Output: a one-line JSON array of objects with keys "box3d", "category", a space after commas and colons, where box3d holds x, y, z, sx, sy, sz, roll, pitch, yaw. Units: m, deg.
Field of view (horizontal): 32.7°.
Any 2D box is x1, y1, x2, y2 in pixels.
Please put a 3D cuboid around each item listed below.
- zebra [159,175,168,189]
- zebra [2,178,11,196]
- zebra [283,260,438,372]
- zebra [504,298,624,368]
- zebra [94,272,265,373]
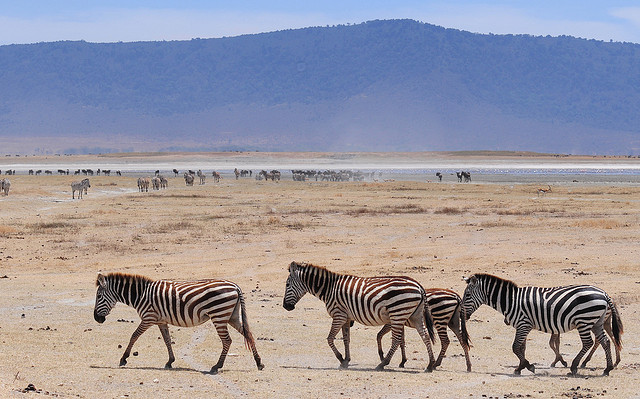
[{"box3d": [-13.611, -1.412, 95.246, 0.616, 0.917, 1.582, -2, 11, -9], "category": "zebra"}, {"box3d": [-23.894, -0.989, 83.278, 0.484, 1.163, 1.968, -3, 12, -13], "category": "zebra"}, {"box3d": [1.739, 5.361, 51.011, 7.740, 4.832, 2.091, 0, 0, 23], "category": "zebra"}, {"box3d": [10.953, 5.952, 50.667, 6.093, 4.008, 1.453, -6, -3, 43], "category": "zebra"}, {"box3d": [-6.685, 5.607, 50.546, 8.379, 4.403, 2.051, -2, -1, 18], "category": "zebra"}]
